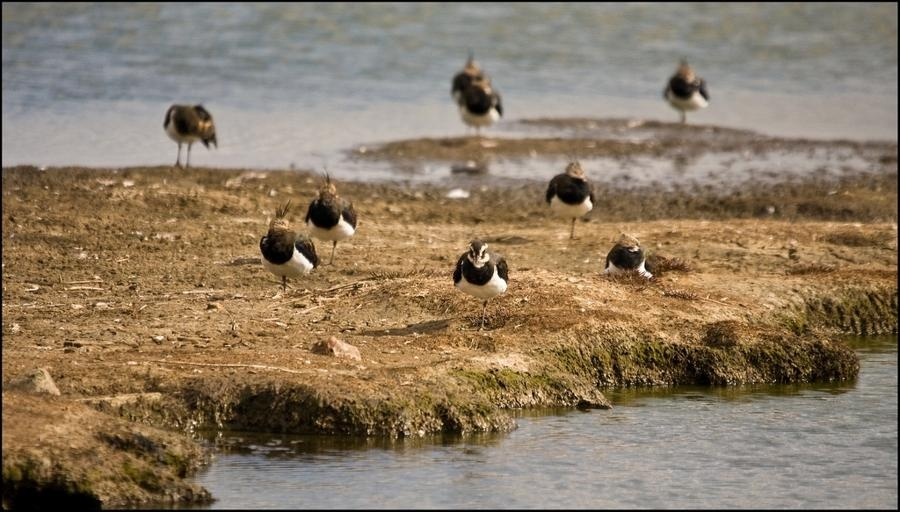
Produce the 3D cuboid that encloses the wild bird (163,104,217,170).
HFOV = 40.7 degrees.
[{"bbox_3d":[-8.216,-3.807,38.202,1.483,1.913,0.899,-5,7,-12],"label":"wild bird"}]

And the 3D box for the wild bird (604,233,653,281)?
[{"bbox_3d":[4.590,0.000,31.648,1.131,1.156,0.463,-3,7,5],"label":"wild bird"}]
